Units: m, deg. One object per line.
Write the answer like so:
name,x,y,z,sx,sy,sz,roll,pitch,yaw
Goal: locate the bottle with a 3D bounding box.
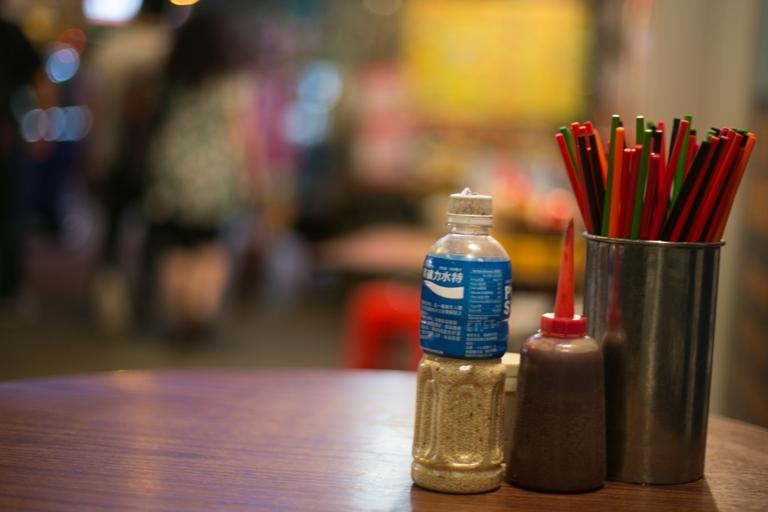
bottle,0.131,0.115,1.183,0.206,0.417,0.136,-4,9,-14
